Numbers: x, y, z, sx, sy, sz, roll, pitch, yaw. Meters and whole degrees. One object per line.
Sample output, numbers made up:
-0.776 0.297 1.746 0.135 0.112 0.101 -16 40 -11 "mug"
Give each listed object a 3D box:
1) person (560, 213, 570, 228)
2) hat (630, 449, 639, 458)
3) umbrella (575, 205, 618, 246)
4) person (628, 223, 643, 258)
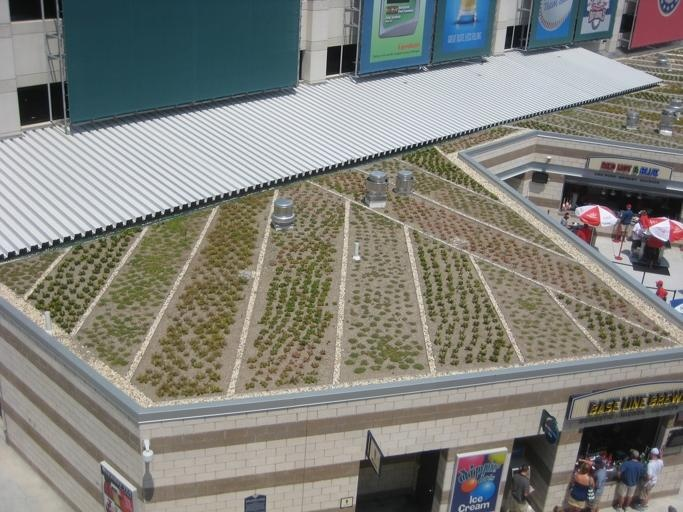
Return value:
13.555 -2.167 45.933 0.676 1.100 0.794 -9 59 8 "person"
11.756 7.880 30.421 0.332 0.385 0.394 4 43 10 "hat"
14.137 -1.821 42.935 1.780 0.674 1.769 22 43 28 "umbrella"
17.717 -0.934 45.629 0.656 1.940 1.063 -18 49 11 "person"
